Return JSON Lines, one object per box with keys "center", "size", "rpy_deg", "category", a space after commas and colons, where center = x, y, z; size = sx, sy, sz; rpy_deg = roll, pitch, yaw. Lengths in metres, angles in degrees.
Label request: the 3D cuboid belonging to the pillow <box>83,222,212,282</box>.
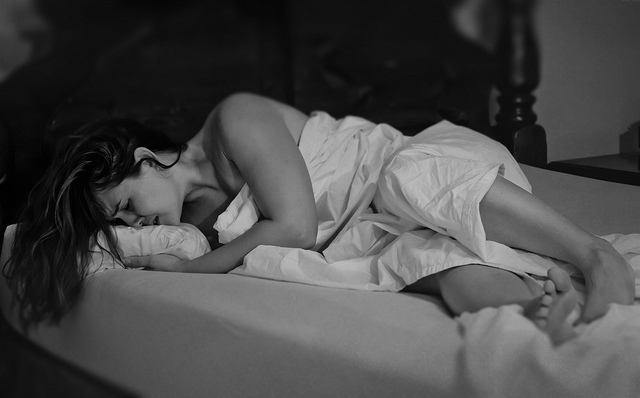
{"center": [-0.413, 0.120, 1.326], "size": [0.167, 0.052, 0.153], "rpy_deg": [-2, 38, -3], "category": "pillow"}
